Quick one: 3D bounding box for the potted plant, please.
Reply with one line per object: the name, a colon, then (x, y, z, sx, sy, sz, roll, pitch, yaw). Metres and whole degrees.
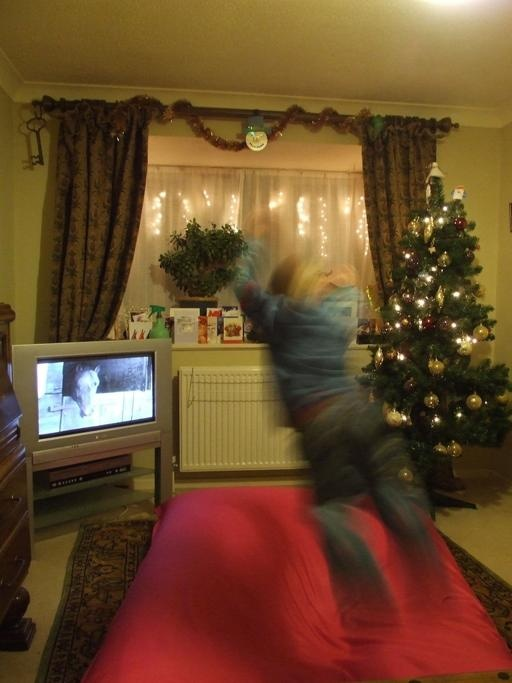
potted plant: (-0.326, -0.449, 3.252, 0.521, 0.500, 0.383, 6, 32, -28)

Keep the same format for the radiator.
radiator: (-0.080, 0.445, 3.131, 0.673, 0.447, 0.069, 0, 4, -8)
